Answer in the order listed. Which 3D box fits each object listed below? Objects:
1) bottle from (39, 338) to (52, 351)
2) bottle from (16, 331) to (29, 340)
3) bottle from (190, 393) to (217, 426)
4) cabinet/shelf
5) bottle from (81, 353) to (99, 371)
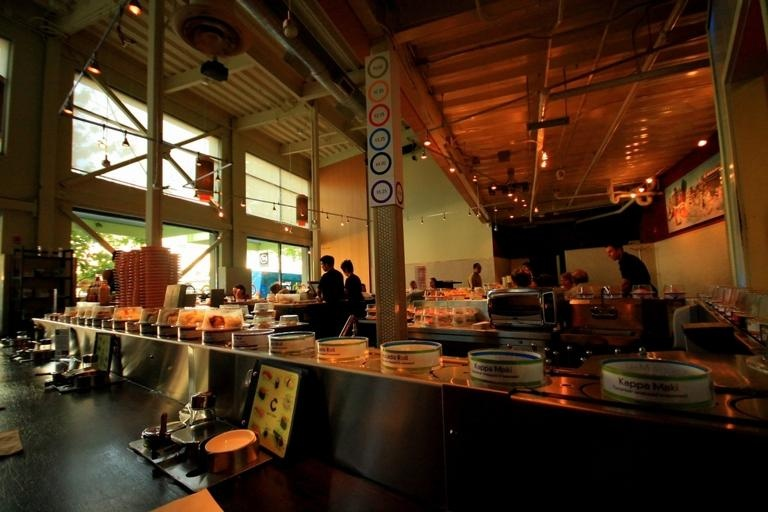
[{"bbox_3d":[-4.013,1.047,6.400,0.155,0.165,0.153,4,-9,-41],"label":"bottle"},{"bbox_3d":[-4.783,1.055,7.130,0.127,0.125,0.123,3,5,12],"label":"bottle"},{"bbox_3d":[-1.548,1.325,4.634,0.256,0.262,0.221,4,-20,-9],"label":"bottle"},{"bbox_3d":[-5.827,0.553,9.165,1.040,1.478,0.623,3,-10,-37],"label":"cabinet/shelf"},{"bbox_3d":[-2.957,1.078,5.425,0.100,0.173,0.104,-7,-12,-2],"label":"bottle"}]
